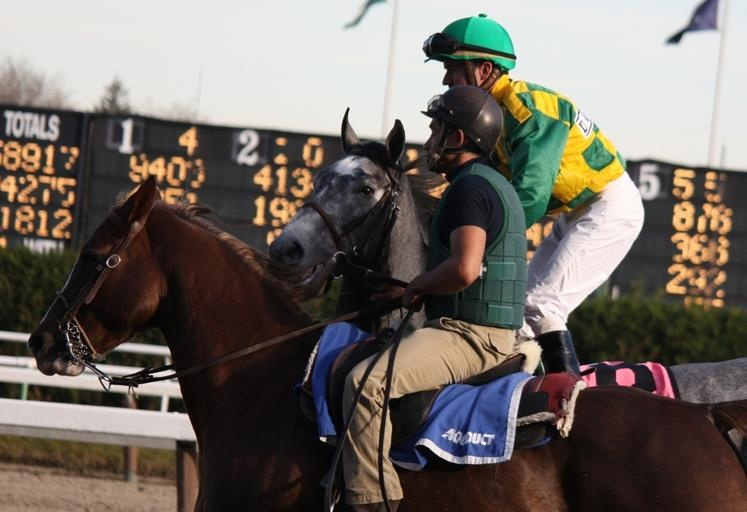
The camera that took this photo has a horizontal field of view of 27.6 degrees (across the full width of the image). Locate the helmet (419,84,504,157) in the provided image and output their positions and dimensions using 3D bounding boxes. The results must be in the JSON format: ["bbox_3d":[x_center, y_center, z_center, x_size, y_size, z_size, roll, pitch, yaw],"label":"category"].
[{"bbox_3d":[0.587,-0.949,10.215,0.584,0.471,0.446,9,10,1],"label":"helmet"}]

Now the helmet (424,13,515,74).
[{"bbox_3d":[0.689,-1.562,11.011,0.665,0.417,0.511,4,2,-16],"label":"helmet"}]
